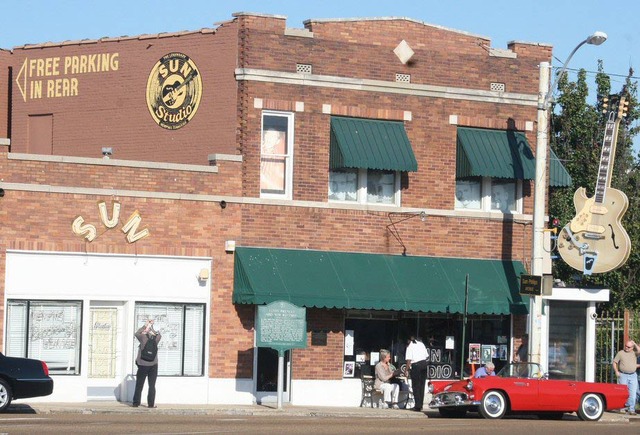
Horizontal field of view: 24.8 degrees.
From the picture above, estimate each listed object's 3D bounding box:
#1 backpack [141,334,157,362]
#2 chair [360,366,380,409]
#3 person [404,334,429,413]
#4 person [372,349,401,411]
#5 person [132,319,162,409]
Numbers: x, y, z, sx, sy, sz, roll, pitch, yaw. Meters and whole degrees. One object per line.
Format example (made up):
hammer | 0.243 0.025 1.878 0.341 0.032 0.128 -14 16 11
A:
backpack | -5.570 4.203 47.232 0.536 0.802 0.415 28 -5 -31
chair | 1.716 5.915 49.962 0.702 1.002 0.657 -2 0 6
person | 3.299 5.241 49.057 0.714 2.541 0.768 -1 -11 -2
person | 2.279 5.409 49.050 0.682 1.916 0.952 -1 7 -43
person | -5.627 4.732 47.389 0.721 2.640 0.941 5 -2 -9
